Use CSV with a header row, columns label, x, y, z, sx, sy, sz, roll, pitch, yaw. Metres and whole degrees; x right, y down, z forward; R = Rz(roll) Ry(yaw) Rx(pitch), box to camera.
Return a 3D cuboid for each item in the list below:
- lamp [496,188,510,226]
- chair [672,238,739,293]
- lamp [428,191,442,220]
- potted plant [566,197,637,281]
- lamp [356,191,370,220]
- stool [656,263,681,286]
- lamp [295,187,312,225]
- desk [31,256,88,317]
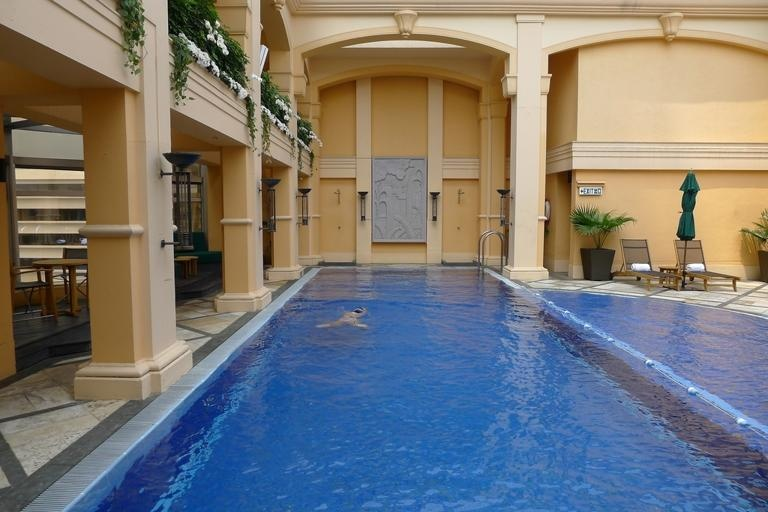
label,x,y,z,sx,sy,sz,roll,pitch,yaw
lamp,3.734,-1.473,14.799,0.365,1.256,2.618,4,11,14
chair,7.655,0.190,10.896,0.858,0.986,1.585,-2,5,-22
lamp,1.709,-1.659,15.842,0.309,0.996,0.295,2,11,5
potted plant,5.489,-0.352,12.663,1.960,1.969,1.877,0,-1,-2
lamp,-0.689,-1.651,15.772,0.309,0.987,0.212,-1,11,-8
stool,6.860,0.428,11.279,0.515,0.359,0.771,0,3,7
lamp,-2.440,-1.479,14.440,0.363,1.167,1.322,-1,11,-9
desk,-5.098,0.516,7.338,0.873,0.734,0.801,-5,6,-42
